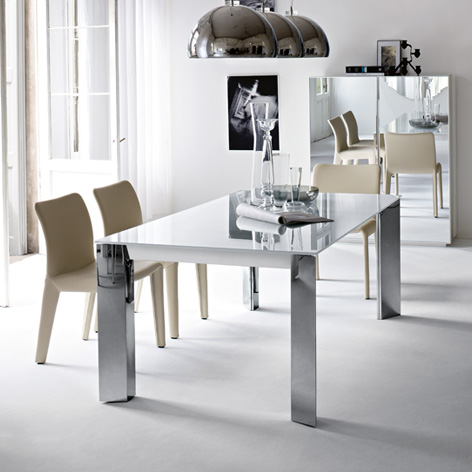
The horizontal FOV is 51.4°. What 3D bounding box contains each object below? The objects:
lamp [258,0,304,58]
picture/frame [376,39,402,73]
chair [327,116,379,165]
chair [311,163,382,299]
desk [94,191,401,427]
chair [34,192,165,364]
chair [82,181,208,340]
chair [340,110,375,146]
[{"bbox_3d":[0.197,-0.815,2.060,0.231,0.253,0.250,0,16,5],"label":"lamp"},{"bbox_3d":[1.587,-1.882,5.078,0.227,0.017,0.327,8,-24,21],"label":"picture/frame"},{"bbox_3d":[1.242,-1.014,5.214,0.500,0.806,0.418,3,14,21],"label":"chair"},{"bbox_3d":[0.798,-0.066,3.701,0.532,0.974,0.598,2,9,10],"label":"chair"},{"bbox_3d":[0.215,0.216,2.593,1.086,0.784,1.789,3,10,26],"label":"desk"},{"bbox_3d":[-0.732,0.244,2.626,0.655,0.885,0.671,5,9,37],"label":"chair"},{"bbox_3d":[-0.450,0.019,3.334,0.824,1.338,0.707,6,13,28],"label":"chair"},{"bbox_3d":[1.272,-1.093,4.935,0.253,0.213,0.323,-7,29,21],"label":"chair"}]
